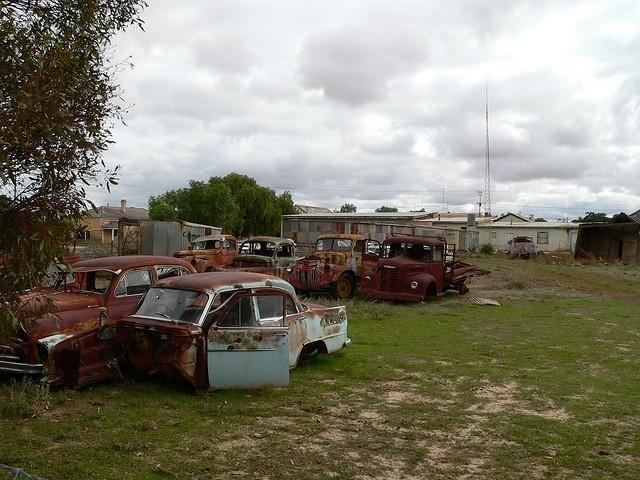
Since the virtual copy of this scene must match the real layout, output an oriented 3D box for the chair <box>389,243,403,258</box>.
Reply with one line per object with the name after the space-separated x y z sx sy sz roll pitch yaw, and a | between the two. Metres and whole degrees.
2.850 0.446 17.052 0.579 0.448 0.522 1 -1 -4 | chair
